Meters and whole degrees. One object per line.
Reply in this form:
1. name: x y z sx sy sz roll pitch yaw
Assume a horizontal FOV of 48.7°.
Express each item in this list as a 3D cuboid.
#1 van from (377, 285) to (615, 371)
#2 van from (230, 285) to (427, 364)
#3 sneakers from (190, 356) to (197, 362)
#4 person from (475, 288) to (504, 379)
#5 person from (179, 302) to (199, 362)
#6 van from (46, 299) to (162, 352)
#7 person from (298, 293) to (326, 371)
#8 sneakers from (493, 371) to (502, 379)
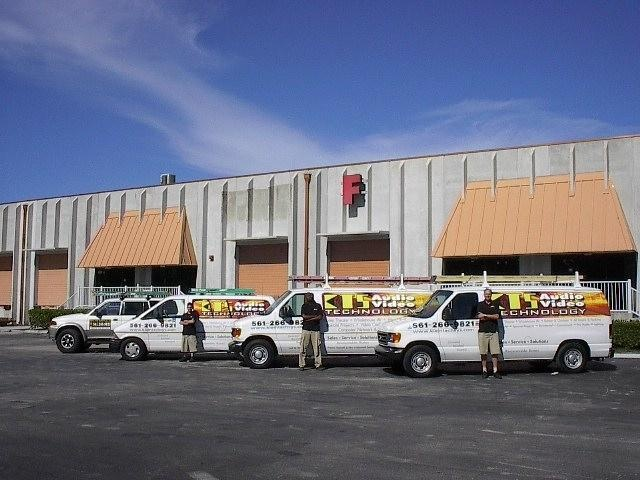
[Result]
1. van: 4.749 2.377 18.574 5.846 2.394 1.032 1 -7 -8
2. van: 0.317 2.454 20.980 5.897 2.141 1.874 0 4 -8
3. sneakers: -3.977 3.726 21.955 0.158 0.175 0.167 2 7 30
4. person: 4.317 2.392 18.008 0.537 2.242 0.591 -1 -7 12
5. person: -3.969 2.649 21.358 0.492 1.512 0.475 1 -7 -4
6. van: -8.058 3.129 25.775 4.333 1.898 2.046 0 -3 3
7. person: -0.241 2.573 19.848 0.668 2.153 0.608 0 -7 0
8. sneakers: 4.540 3.448 18.005 0.217 0.147 0.389 -1 -7 14
